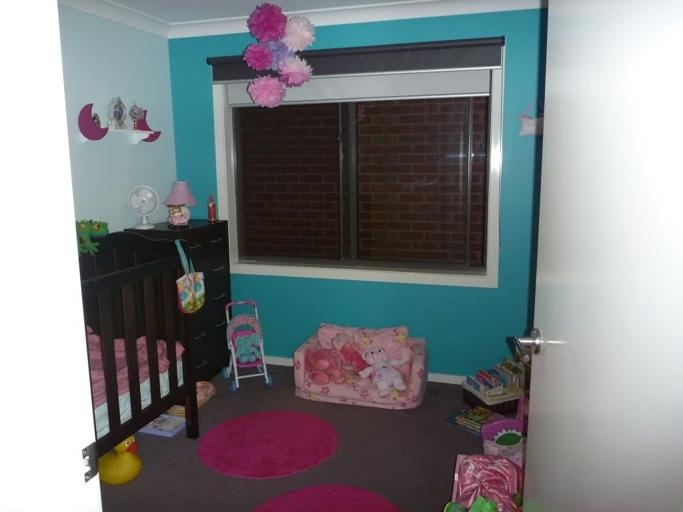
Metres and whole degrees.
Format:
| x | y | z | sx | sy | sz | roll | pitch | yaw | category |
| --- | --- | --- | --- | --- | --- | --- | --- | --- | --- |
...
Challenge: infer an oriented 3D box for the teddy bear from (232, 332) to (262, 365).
| x | y | z | sx | sy | sz | roll | pitch | yaw | category |
| --- | --- | --- | --- | --- | --- | --- | --- | --- | --- |
| -0.729 | 0.730 | 4.045 | 0.188 | 0.276 | 0.094 | -1 | -1 | -6 | teddy bear |

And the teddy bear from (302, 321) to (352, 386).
| x | y | z | sx | sy | sz | roll | pitch | yaw | category |
| --- | --- | --- | --- | --- | --- | --- | --- | --- | --- |
| -0.112 | 0.718 | 3.758 | 0.260 | 0.391 | 0.112 | 0 | -17 | -4 | teddy bear |

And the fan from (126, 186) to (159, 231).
| x | y | z | sx | sy | sz | roll | pitch | yaw | category |
| --- | --- | --- | --- | --- | --- | --- | --- | --- | --- |
| -1.445 | -0.349 | 3.836 | 0.207 | 0.325 | 0.125 | 0 | -8 | -30 | fan |

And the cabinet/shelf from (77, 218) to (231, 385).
| x | y | z | sx | sy | sz | roll | pitch | yaw | category |
| --- | --- | --- | --- | --- | --- | --- | --- | --- | --- |
| -1.460 | 0.323 | 3.733 | 0.502 | 0.959 | 0.726 | -9 | 14 | 23 | cabinet/shelf |

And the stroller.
| x | y | z | sx | sy | sz | roll | pitch | yaw | category |
| --- | --- | --- | --- | --- | --- | --- | --- | --- | --- |
| -0.746 | 0.684 | 4.086 | 0.404 | 0.627 | 0.473 | -2 | 3 | 3 | stroller |

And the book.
| x | y | z | sx | sy | sz | roll | pitch | yaw | category |
| --- | --- | --- | --- | --- | --- | --- | --- | --- | --- |
| 0.963 | 0.938 | 3.514 | 0.482 | 0.174 | 0.345 | -13 | 17 | -34 | book |

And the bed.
| x | y | z | sx | sy | sz | roll | pitch | yaw | category |
| --- | --- | --- | --- | --- | --- | --- | --- | --- | --- |
| -1.298 | 0.527 | 3.212 | 0.626 | 1.079 | 1.135 | 8 | 10 | -32 | bed |
